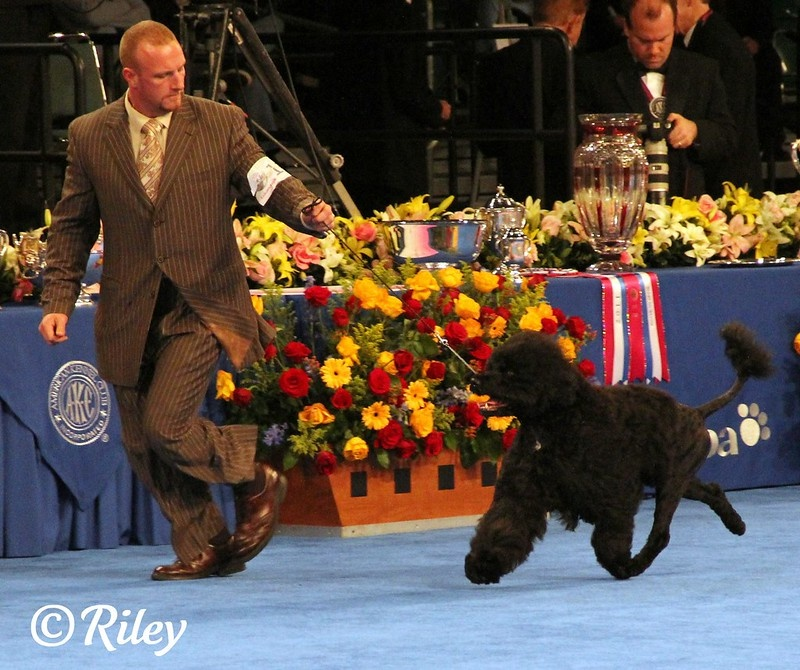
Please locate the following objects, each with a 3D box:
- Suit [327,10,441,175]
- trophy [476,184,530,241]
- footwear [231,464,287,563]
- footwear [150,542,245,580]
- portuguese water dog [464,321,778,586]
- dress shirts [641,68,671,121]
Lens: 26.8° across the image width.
[{"bbox_3d":[-0.077,-1.302,9.093,0.657,1.051,0.434,0,9,9],"label":"Suit"},{"bbox_3d":[0.384,-0.487,6.774,0.226,0.261,0.208,-1,-3,0],"label":"trophy"},{"bbox_3d":[-0.469,0.598,5.657,0.162,0.349,0.121,28,-25,-33],"label":"footwear"},{"bbox_3d":[-0.653,0.748,5.593,0.327,0.151,0.107,3,-1,-25],"label":"footwear"},{"bbox_3d":[0.706,0.366,5.501,1.024,0.812,0.432,-9,11,-40],"label":"portuguese water dog"},{"bbox_3d":[1.168,-1.117,7.704,0.055,0.242,0.262,-3,5,13],"label":"dress shirts"}]
